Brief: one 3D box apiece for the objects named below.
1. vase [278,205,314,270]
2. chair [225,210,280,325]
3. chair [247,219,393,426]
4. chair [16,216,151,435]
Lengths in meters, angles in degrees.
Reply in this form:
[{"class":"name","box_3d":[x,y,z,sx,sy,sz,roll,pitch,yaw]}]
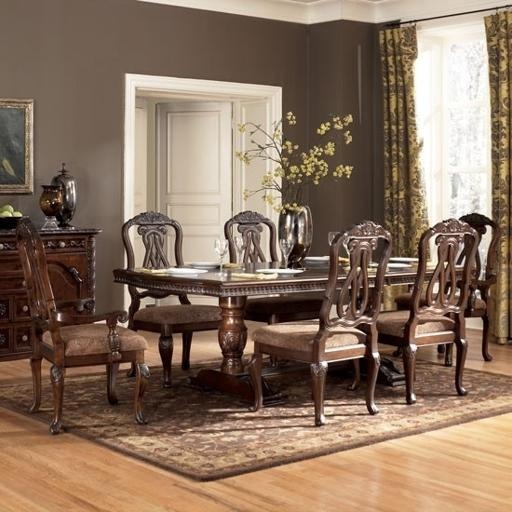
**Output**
[{"class":"vase","box_3d":[0.270,-0.125,3.681,0.285,0.406,0.256,-1,2,6]},{"class":"chair","box_3d":[-0.050,0.116,4.200,0.586,0.865,0.575,-5,14,-1]},{"class":"chair","box_3d":[0.432,0.360,3.013,0.705,1.045,0.786,-1,-3,39]},{"class":"chair","box_3d":[-0.930,0.352,2.765,0.660,0.927,0.557,6,-2,-33]}]
